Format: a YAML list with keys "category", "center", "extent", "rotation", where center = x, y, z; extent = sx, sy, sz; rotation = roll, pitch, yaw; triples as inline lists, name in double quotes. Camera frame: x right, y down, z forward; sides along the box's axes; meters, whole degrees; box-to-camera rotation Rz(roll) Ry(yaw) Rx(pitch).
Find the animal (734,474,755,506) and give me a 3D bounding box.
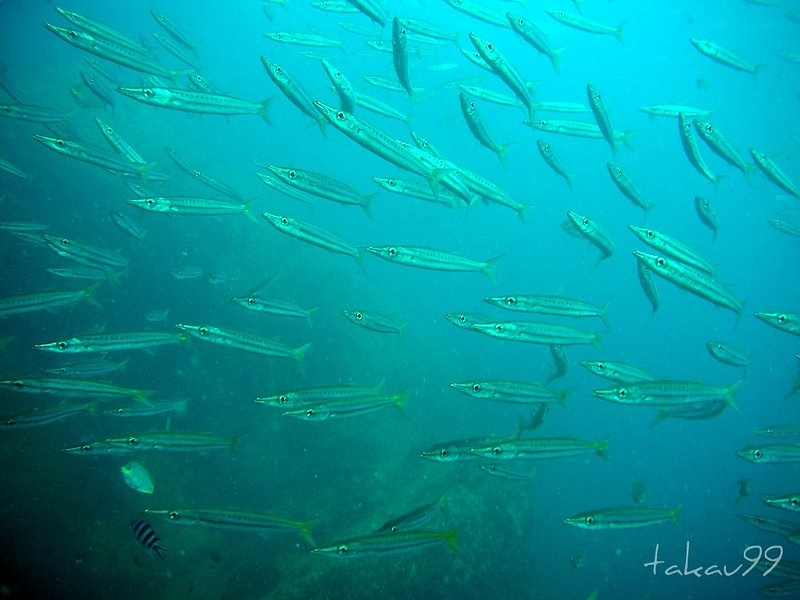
- category: "animal"
  center: [11.679, 6.451, 30.593]
  extent: [0.399, 0.634, 0.764]
  rotation: [5, 3, 20]
